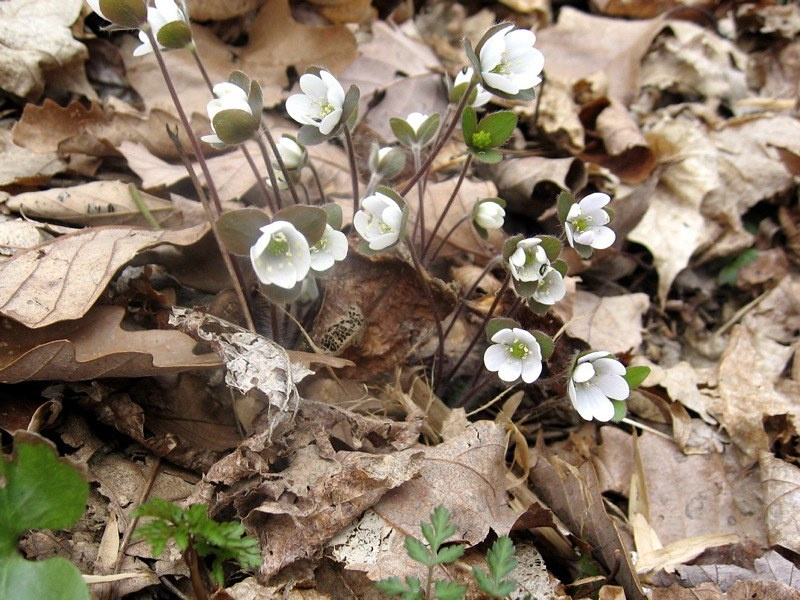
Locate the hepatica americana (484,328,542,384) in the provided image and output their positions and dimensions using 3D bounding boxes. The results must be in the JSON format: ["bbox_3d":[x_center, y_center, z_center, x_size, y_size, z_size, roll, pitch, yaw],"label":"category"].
[{"bbox_3d":[0.458,0.234,3.251,0.223,0.208,0.184,23,64,-1],"label":"hepatica americana"}]
